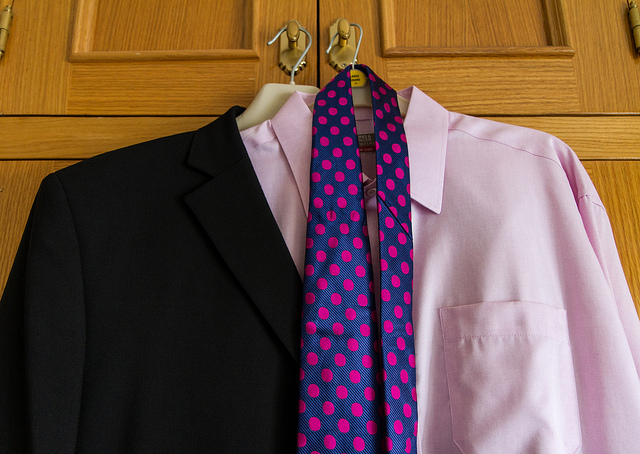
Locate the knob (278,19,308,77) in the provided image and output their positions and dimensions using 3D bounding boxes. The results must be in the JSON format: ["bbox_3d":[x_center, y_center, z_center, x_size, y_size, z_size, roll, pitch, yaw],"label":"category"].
[{"bbox_3d":[-0.062,-0.423,1.220,0.074,0.150,0.097,-1,-10,2],"label":"knob"}]

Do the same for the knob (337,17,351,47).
[{"bbox_3d":[0.055,-0.443,1.181,0.033,0.058,0.062,-3,8,4],"label":"knob"}]

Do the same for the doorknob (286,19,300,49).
[{"bbox_3d":[-0.060,-0.440,1.190,0.036,0.058,0.067,-3,-2,2],"label":"doorknob"}]
